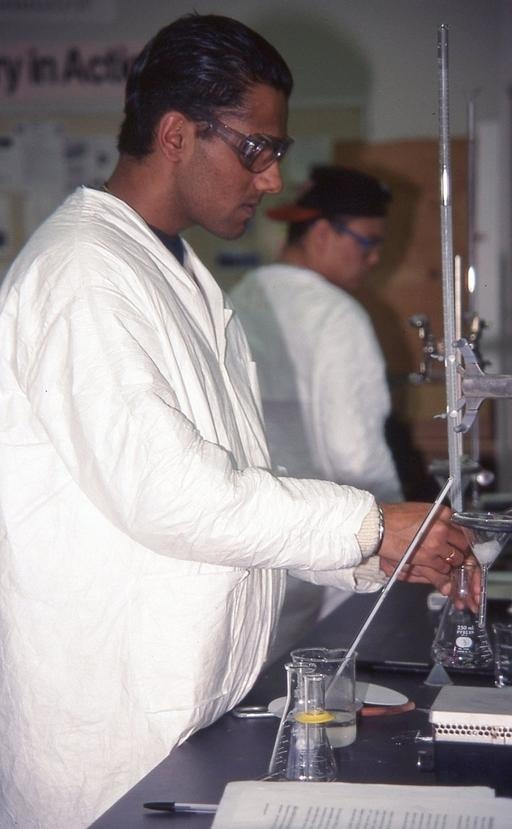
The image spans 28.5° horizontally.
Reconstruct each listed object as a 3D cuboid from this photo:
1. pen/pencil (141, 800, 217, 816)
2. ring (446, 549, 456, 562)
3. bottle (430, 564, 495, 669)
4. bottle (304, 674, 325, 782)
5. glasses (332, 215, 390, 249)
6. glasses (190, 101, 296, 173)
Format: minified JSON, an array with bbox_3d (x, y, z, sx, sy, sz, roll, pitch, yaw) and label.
[{"bbox_3d":[-0.081,0.419,1.071,0.102,0.012,0.013,3,-30,1],"label":"pen/pencil"},{"bbox_3d":[0.255,0.184,1.324,0.006,0.014,0.014,37,22,3],"label":"ring"},{"bbox_3d":[0.269,0.270,1.345,0.094,0.124,0.036,3,-7,12],"label":"bottle"},{"bbox_3d":[0.063,0.337,1.094,0.023,0.106,0.042,-1,3,3],"label":"bottle"},{"bbox_3d":[0.245,-0.430,2.351,0.116,0.059,0.078,25,15,2],"label":"glasses"},{"bbox_3d":[-0.019,-0.383,1.400,0.103,0.032,0.079,22,16,2],"label":"glasses"}]
